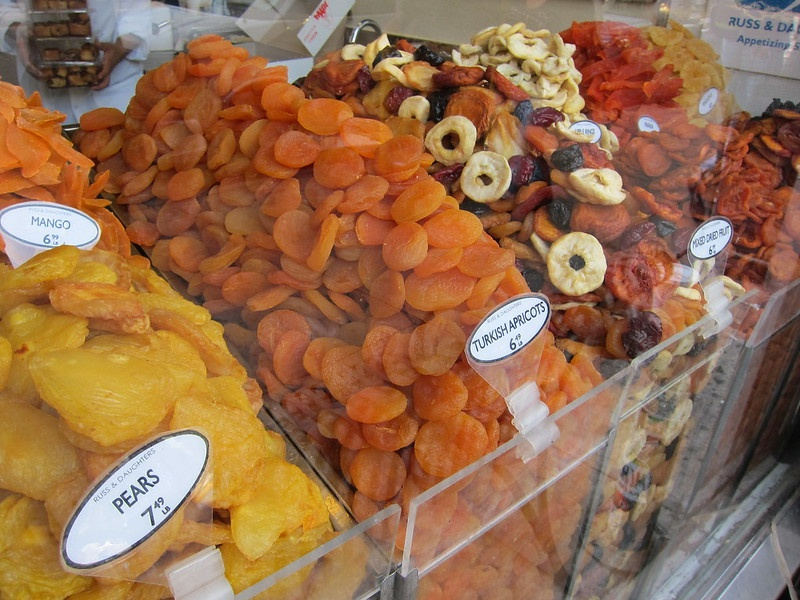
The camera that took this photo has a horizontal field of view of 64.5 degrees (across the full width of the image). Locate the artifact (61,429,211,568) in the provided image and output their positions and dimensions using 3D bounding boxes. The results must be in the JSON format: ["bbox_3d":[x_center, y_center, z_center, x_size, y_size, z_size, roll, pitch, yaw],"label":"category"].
[{"bbox_3d":[-0.379,0.286,0.918,0.225,0.135,0.085,-23,48,-37],"label":"artifact"}]

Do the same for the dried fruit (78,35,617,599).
[{"bbox_3d":[-0.215,0.023,1.755,1.021,0.452,1.379,-29,62,-19],"label":"dried fruit"}]
